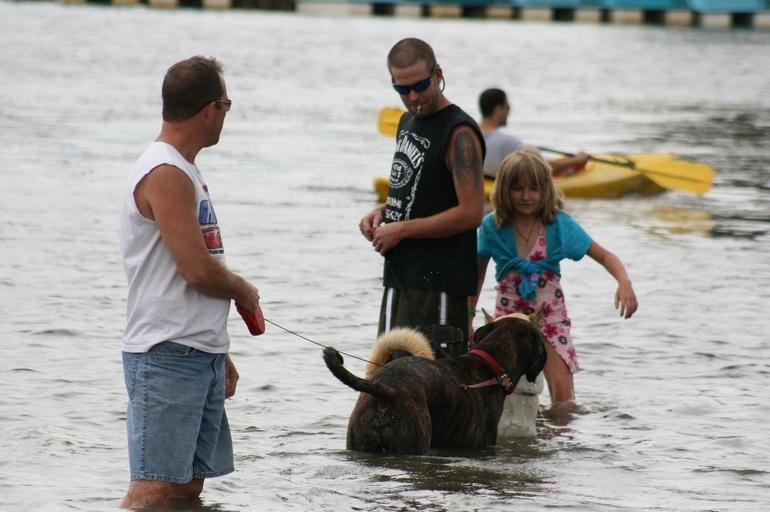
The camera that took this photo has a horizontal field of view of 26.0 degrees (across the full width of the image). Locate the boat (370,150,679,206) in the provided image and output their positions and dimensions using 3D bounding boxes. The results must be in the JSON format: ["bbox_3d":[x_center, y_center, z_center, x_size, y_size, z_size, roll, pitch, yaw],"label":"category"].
[{"bbox_3d":[3.097,-1.939,41.041,8.087,1.014,2.264,-2,11,-3],"label":"boat"}]

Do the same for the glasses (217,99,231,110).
[{"bbox_3d":[-2.918,-2.801,30.463,0.243,0.198,0.069,0,-1,17],"label":"glasses"}]
